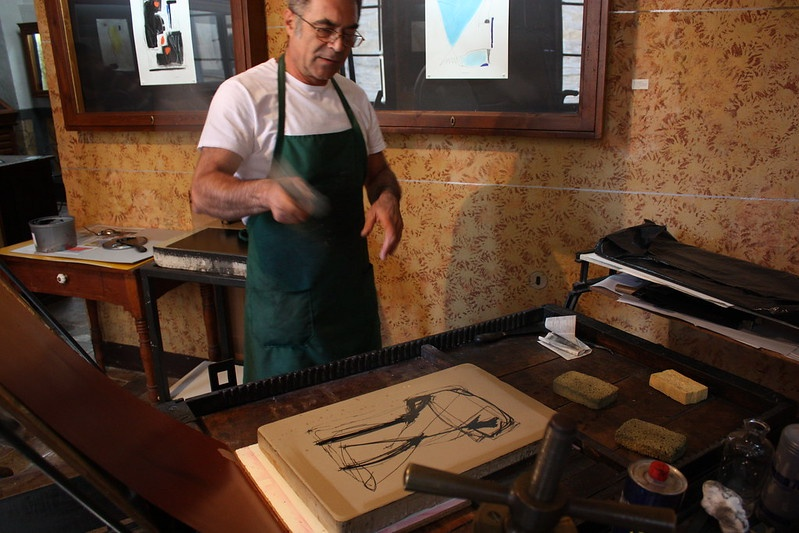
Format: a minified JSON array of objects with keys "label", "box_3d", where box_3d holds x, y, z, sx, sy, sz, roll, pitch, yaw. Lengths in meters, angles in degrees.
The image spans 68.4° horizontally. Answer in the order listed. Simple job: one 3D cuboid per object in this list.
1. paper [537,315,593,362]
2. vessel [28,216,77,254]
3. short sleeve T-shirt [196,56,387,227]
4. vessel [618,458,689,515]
[{"label":"paper","box_3d":[0.507,0.222,1.841,0.121,0.057,0.151,-19,29,-19]},{"label":"vessel","box_3d":[-1.794,-0.164,3.048,0.210,0.145,0.197,8,16,35]},{"label":"short sleeve T-shirt","box_3d":[-0.354,-0.439,2.077,0.748,0.526,0.334,-12,27,-36]},{"label":"vessel","box_3d":[0.543,0.470,1.251,0.114,0.100,0.114,17,25,41]}]
